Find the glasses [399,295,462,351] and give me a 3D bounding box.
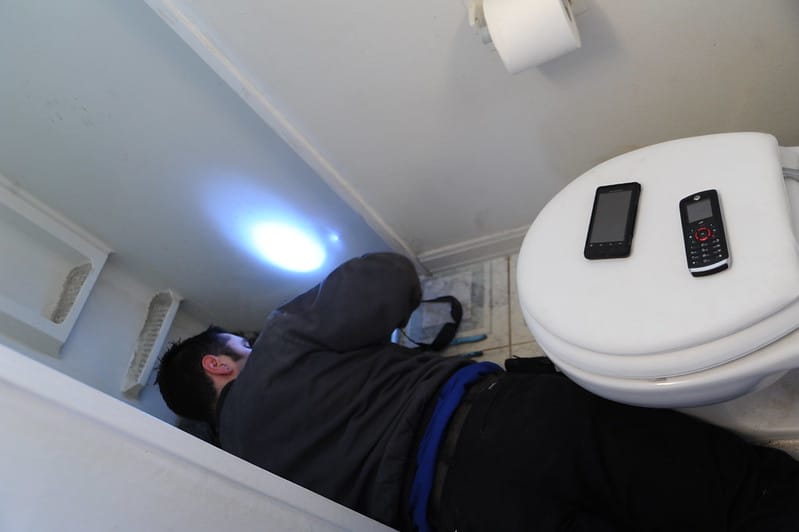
[{"bbox_3d":[0.129,0.209,1.920,0.206,0.055,0.191,-56,34,-8],"label":"glasses"}]
